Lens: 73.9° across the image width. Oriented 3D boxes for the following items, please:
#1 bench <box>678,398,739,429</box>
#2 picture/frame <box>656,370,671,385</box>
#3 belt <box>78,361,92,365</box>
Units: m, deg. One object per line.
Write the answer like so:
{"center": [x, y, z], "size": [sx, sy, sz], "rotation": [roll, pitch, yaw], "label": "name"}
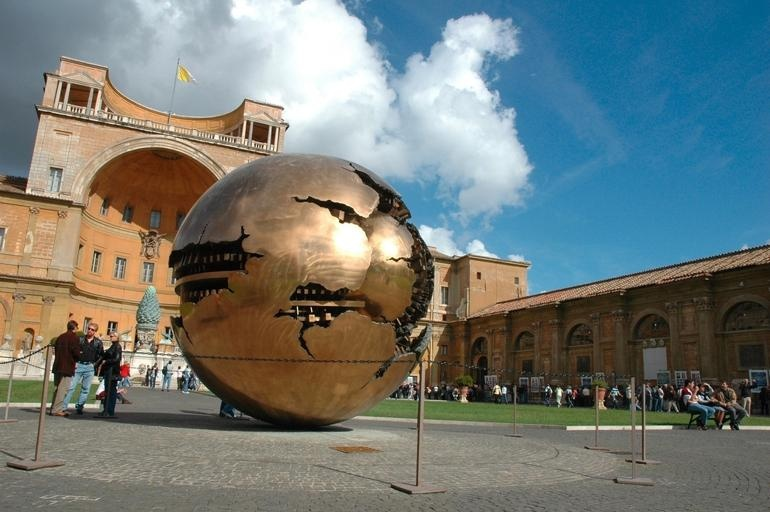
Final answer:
{"center": [11.520, 5.568, 18.104], "size": [2.181, 0.886, 0.771], "rotation": [9, -20, -21], "label": "bench"}
{"center": [18.729, 8.105, 34.308], "size": [0.161, 1.072, 1.211], "rotation": [-1, -4, -28], "label": "picture/frame"}
{"center": [-7.473, 2.630, 12.676], "size": [0.178, 0.039, 0.163], "rotation": [2, -4, 3], "label": "belt"}
